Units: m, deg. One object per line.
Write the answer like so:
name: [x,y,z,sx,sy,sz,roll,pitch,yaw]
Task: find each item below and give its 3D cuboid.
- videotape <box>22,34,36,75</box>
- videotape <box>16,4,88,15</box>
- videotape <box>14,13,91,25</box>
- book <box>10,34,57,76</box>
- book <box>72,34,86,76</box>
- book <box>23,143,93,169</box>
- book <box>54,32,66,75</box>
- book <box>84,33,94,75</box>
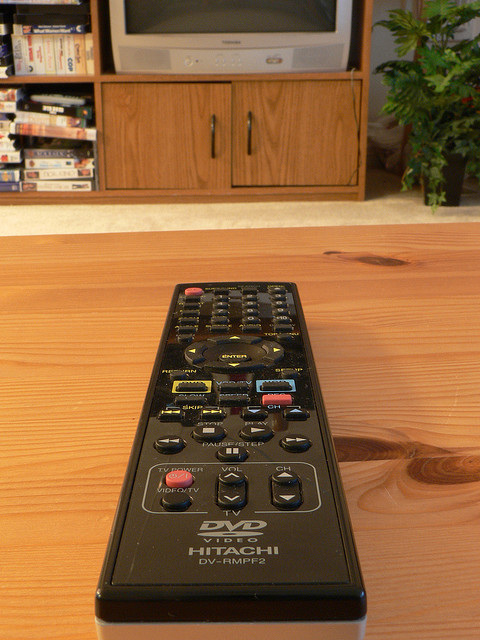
videotape: [-0.792,-0.996,2.027,0.024,0.095,0.102,-4,8,-31]
videotape: [-0.687,-1.136,1.973,0.257,0.033,0.036,-2,20,-3]
videotape: [-0.695,-1.114,2.003,0.272,0.041,0.034,-1,20,1]
book: [-0.792,-1.018,2.069,0.160,0.136,0.114,-8,35,-22]
book: [-0.602,-1.000,2.021,0.043,0.113,0.117,-3,-19,-6]
book: [-0.723,-0.651,2.138,0.267,0.095,0.133,-5,20,-11]
book: [-0.673,-1.005,2.023,0.035,0.092,0.099,0,42,-7]
book: [-0.564,-1.002,2.018,0.040,0.111,0.112,-1,55,-7]
